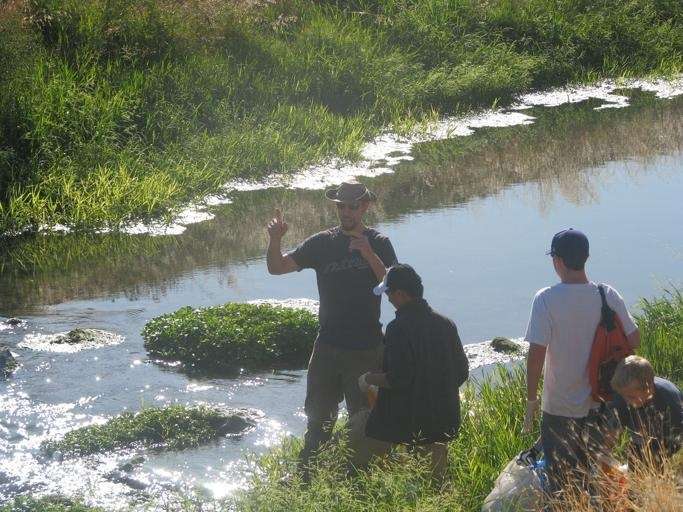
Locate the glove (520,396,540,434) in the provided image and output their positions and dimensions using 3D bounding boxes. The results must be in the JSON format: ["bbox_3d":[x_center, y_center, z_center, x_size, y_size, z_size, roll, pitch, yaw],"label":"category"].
[{"bbox_3d":[2.291,1.947,10.676,0.108,0.445,0.289,7,-6,3],"label":"glove"}]

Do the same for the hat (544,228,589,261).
[{"bbox_3d":[2.492,-0.103,9.539,0.348,0.243,0.282,5,8,35],"label":"hat"}]

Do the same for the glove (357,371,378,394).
[{"bbox_3d":[0.313,1.556,10.753,0.188,0.254,0.274,10,-23,7],"label":"glove"}]

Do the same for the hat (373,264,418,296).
[{"bbox_3d":[0.665,0.284,10.535,0.516,0.373,0.409,0,3,12],"label":"hat"}]

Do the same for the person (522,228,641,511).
[{"bbox_3d":[2.918,1.568,10.804,1.314,4.009,1.057,-5,19,0],"label":"person"}]
